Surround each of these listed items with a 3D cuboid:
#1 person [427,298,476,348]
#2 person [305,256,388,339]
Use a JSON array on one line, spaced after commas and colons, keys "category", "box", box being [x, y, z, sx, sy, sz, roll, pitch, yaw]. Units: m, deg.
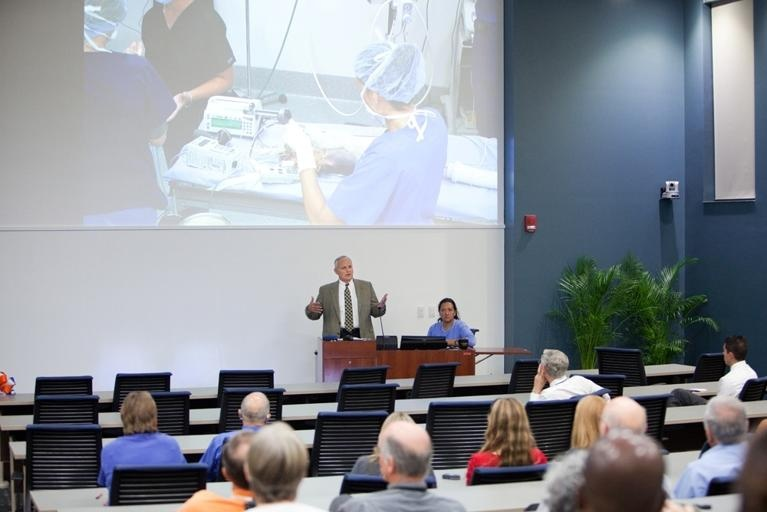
[{"category": "person", "box": [0.958, 0.976, 10.553, 0.678, 0.988, 0.651, -3, -15, 8]}, {"category": "person", "box": [-0.618, 0.660, 11.269, 0.974, 1.790, 0.629, -1, -28, -7]}]
